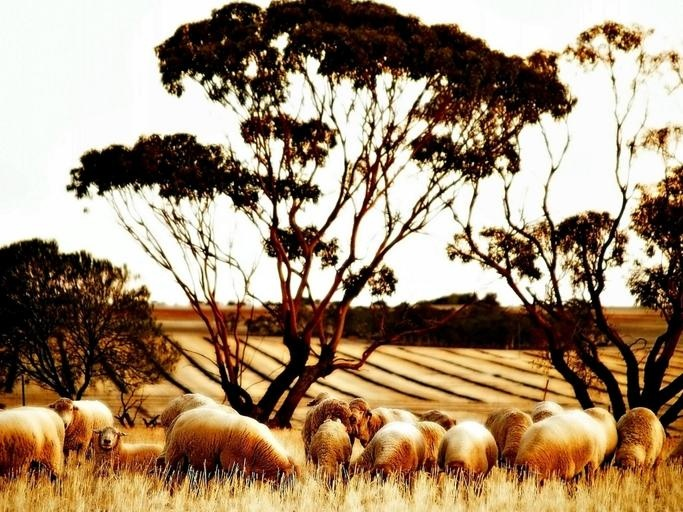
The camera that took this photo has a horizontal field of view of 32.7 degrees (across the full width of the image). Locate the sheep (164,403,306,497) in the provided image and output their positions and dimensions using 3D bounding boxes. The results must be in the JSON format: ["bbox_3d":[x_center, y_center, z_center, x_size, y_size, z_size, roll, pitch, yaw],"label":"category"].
[{"bbox_3d":[-2.789,4.690,28.339,2.993,2.053,1.067,4,-13,-11],"label":"sheep"}]

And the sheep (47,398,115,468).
[{"bbox_3d":[-7.418,5.013,32.707,0.827,2.153,3.123,3,-5,3],"label":"sheep"}]

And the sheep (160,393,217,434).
[{"bbox_3d":[-4.225,4.149,31.276,0.939,0.617,1.157,35,-10,-22],"label":"sheep"}]
